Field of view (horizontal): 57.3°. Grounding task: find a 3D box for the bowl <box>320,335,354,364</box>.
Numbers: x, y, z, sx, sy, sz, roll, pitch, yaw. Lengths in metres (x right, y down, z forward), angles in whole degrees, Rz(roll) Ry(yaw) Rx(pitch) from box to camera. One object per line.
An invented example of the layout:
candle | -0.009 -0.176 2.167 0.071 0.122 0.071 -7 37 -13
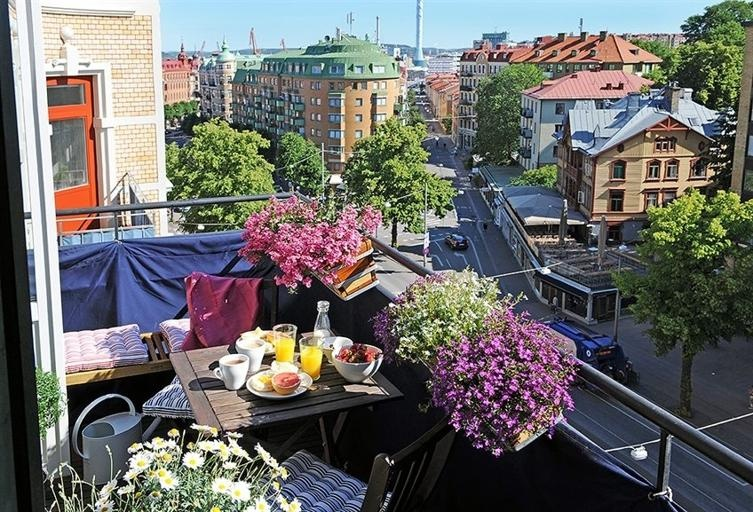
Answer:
bowl | -0.287 0.624 4.728 0.177 0.081 0.177 -2 11 0

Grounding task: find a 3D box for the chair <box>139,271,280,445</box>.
chair | -1.347 0.881 5.450 0.834 1.172 0.976 7 25 19

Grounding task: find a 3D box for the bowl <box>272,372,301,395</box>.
bowl | -0.574 0.790 4.295 0.174 0.077 0.189 -1 14 0

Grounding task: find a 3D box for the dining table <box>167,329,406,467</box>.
dining table | -0.612 0.869 4.332 0.979 0.609 0.974 -8 24 -23

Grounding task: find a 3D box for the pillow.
pillow | -1.268 0.473 5.618 0.725 0.619 0.137 -1 1 12

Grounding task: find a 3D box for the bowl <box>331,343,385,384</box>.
bowl | -0.182 0.718 4.491 0.316 0.207 0.323 -2 -5 0

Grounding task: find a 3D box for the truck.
truck | 8.091 3.945 27.991 2.485 1.674 4.101 2 11 -32

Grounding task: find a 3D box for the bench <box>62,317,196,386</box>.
bench | -2.098 0.829 5.734 0.913 0.216 0.504 -5 57 -22

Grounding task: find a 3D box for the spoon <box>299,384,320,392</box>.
spoon | -0.417 0.830 4.350 0.038 0.025 0.145 -2 -4 -30

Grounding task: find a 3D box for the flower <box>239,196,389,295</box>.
flower | -0.517 -0.100 5.185 1.072 0.689 0.478 -2 14 -3

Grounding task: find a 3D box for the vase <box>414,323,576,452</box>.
vase | 0.696 0.577 3.546 0.637 0.515 0.768 26 28 14

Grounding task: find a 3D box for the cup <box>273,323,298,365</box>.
cup | -0.639 0.609 4.718 0.163 0.243 0.164 2 18 -1

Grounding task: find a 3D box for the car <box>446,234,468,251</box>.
car | 6.196 -1.047 53.634 1.231 0.982 1.993 -5 15 -15

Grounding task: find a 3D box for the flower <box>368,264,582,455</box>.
flower | 0.555 0.511 3.694 1.125 0.584 0.864 28 33 21
